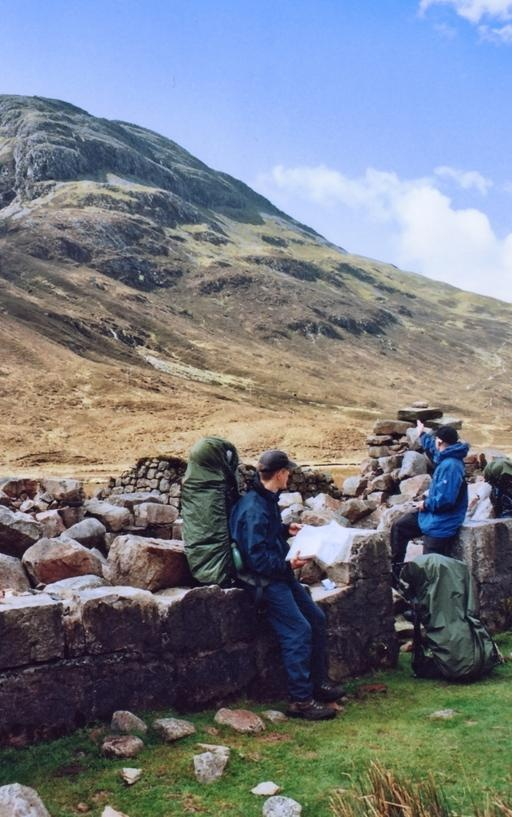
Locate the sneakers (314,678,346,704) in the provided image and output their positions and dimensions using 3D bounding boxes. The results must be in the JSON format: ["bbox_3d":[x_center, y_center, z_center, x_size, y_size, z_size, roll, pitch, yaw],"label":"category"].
[{"bbox_3d":[0.445,1.742,4.523,0.258,0.107,0.098,-5,1,17],"label":"sneakers"}]

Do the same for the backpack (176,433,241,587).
[{"bbox_3d":[-0.310,0.516,5.199,0.418,0.322,1.177,-2,23,-3],"label":"backpack"}]

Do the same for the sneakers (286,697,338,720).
[{"bbox_3d":[0.314,1.748,4.303,0.267,0.094,0.118,-1,-7,2],"label":"sneakers"}]

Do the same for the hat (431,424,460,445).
[{"bbox_3d":[1.478,0.223,5.713,0.137,0.098,0.171,20,32,7],"label":"hat"}]

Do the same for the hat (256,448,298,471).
[{"bbox_3d":[0.138,0.329,4.670,0.196,0.104,0.130,-11,16,-28],"label":"hat"}]

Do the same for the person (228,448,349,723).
[{"bbox_3d":[0.168,1.045,4.555,0.694,1.550,0.531,-1,-1,12],"label":"person"}]
